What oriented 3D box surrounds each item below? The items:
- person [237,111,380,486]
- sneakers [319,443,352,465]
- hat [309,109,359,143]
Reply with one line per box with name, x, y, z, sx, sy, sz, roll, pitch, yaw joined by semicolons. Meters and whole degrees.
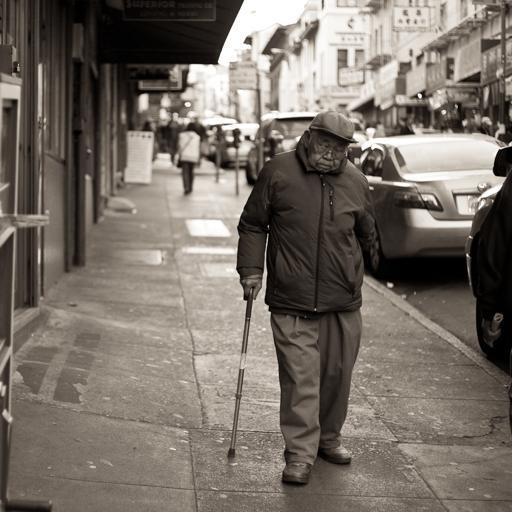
person;0.241;0.171;4.107;0.707;1.803;0.629;2;6;6
sneakers;0.413;1.038;4.249;0.173;0.090;0.069;-4;-2;44
hat;0.395;-0.651;4.063;0.221;0.156;0.317;16;4;-13
